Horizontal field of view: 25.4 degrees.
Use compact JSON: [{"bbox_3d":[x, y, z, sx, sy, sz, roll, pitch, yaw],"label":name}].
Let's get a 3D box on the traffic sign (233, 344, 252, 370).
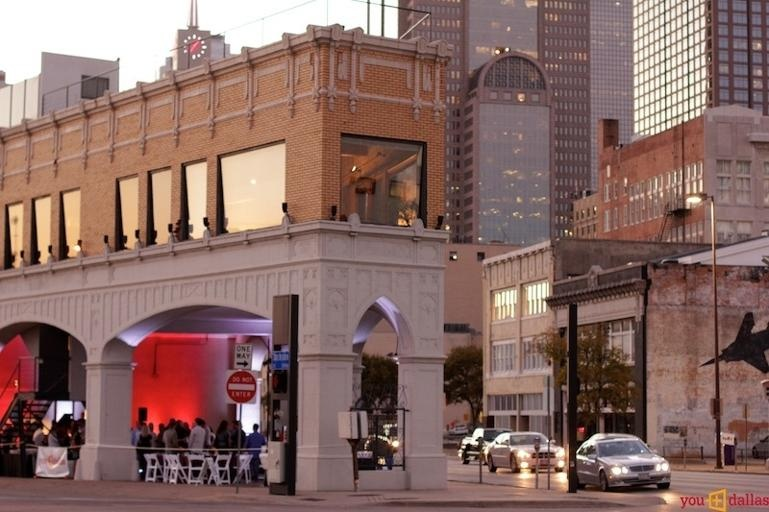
[{"bbox_3d":[-6.320,4.563,76.700,0.685,0.958,0.865,3,-1,-12],"label":"traffic sign"}]
